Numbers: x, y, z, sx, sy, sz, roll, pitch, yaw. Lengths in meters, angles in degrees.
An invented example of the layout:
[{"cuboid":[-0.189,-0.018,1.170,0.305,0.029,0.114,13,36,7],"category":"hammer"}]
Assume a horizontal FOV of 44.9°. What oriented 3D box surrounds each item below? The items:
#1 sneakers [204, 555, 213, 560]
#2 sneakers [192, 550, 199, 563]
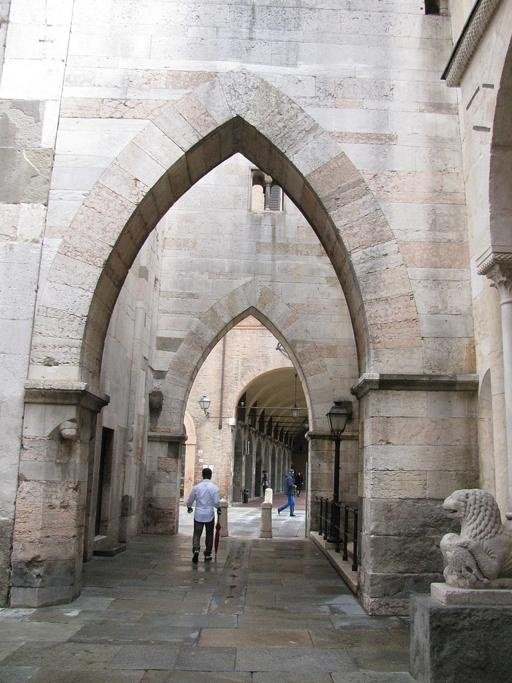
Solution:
[{"cuboid":[-0.738,3.320,9.567,0.070,0.065,0.110,1,-14,3],"category":"sneakers"},{"cuboid":[-0.885,3.155,9.125,0.084,0.157,0.071,6,-4,-6],"category":"sneakers"}]
